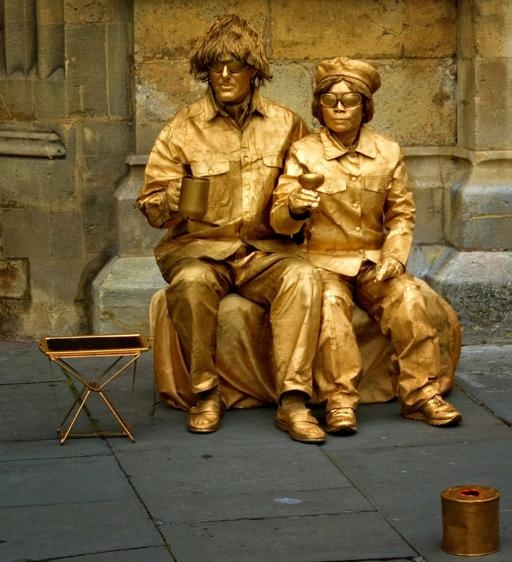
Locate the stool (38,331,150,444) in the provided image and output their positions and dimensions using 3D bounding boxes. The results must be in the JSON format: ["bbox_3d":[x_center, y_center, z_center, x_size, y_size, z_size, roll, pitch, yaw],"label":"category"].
[{"bbox_3d":[-0.660,0.457,4.097,0.489,0.330,0.445,-5,2,-21],"label":"stool"}]

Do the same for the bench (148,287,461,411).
[{"bbox_3d":[0.214,0.319,4.527,1.202,0.392,0.703,-2,-4,-14],"label":"bench"}]

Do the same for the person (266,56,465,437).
[{"bbox_3d":[0.485,-0.187,4.319,0.837,1.583,0.881,-1,13,1],"label":"person"}]

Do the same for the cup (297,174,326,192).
[{"bbox_3d":[0.232,-0.411,4.098,0.103,0.072,0.101,-1,11,0],"label":"cup"}]

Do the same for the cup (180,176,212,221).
[{"bbox_3d":[-0.261,-0.348,4.126,0.104,0.183,0.119,-12,17,-40],"label":"cup"}]
